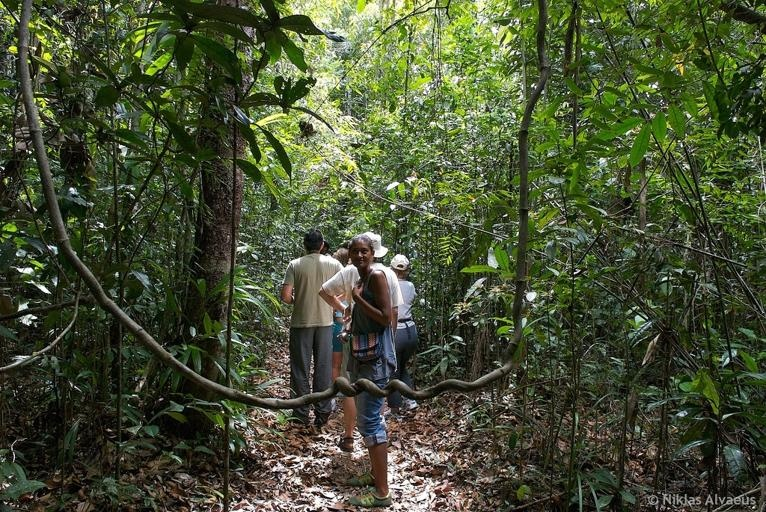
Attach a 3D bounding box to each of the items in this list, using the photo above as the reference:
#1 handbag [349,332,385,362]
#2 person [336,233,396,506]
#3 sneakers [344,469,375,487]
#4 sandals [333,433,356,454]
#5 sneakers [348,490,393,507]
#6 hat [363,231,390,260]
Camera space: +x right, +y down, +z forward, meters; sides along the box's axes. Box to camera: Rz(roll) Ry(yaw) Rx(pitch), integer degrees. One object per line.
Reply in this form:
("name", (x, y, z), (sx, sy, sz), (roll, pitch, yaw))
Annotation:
("handbag", (-0.098, 0.526, 3.547), (0.201, 0.119, 0.102), (3, 1, -1))
("person", (-0.083, 0.654, 3.620), (0.317, 1.105, 0.359), (3, 2, -4))
("sneakers", (-0.143, 1.352, 3.720), (0.202, 0.084, 0.071), (5, -4, -3))
("sandals", (-0.264, 1.269, 4.119), (0.106, 0.115, 0.273), (2, -4, -6))
("sneakers", (-0.074, 1.407, 3.551), (0.236, 0.100, 0.088), (6, -14, -5))
("hat", (-0.049, -0.081, 4.341), (0.200, 0.157, 0.069), (13, -33, 44))
